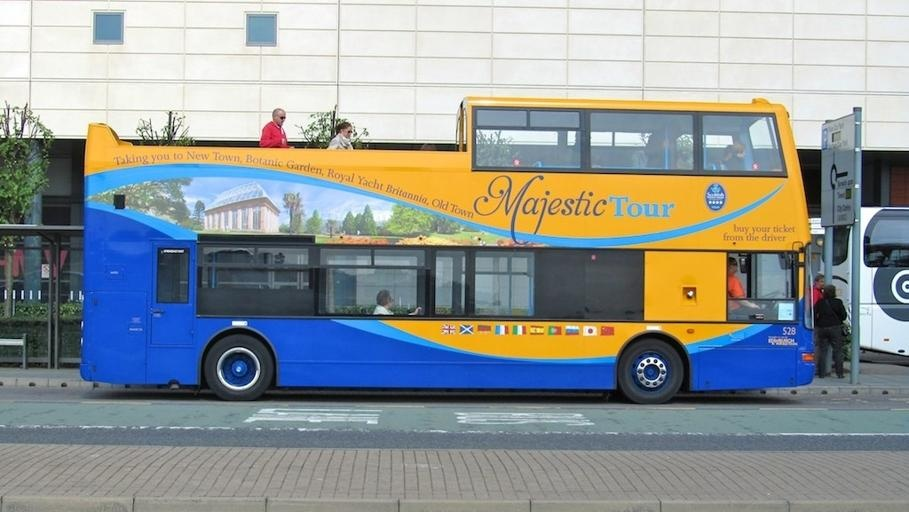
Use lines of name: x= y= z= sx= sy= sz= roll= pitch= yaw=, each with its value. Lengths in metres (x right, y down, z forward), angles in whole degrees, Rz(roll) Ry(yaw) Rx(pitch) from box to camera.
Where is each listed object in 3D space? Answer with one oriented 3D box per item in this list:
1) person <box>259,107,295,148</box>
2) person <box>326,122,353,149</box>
person: x=-5.328 y=-3.885 z=43.955 sx=0.778 sy=1.141 sz=1.376 roll=6 pitch=13 yaw=11
person: x=-3.440 y=-3.636 z=44.291 sx=0.838 sy=1.013 sz=1.101 roll=-1 pitch=10 yaw=-6
